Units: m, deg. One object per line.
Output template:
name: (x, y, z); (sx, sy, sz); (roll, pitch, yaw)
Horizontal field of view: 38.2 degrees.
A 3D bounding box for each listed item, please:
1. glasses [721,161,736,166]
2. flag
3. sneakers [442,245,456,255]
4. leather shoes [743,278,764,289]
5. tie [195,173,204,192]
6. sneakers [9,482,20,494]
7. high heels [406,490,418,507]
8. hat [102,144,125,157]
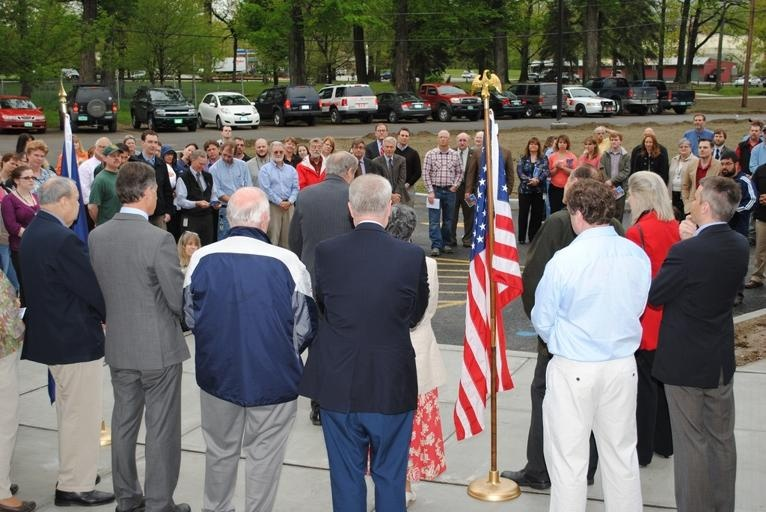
glasses: (6.174, -1.646, 19.685); (0.269, 0.097, 0.125); (-1, 8, -9)
flag: (1.370, 0.377, 14.529); (0.833, 4.410, 1.044); (1, 7, 5)
sneakers: (1.320, -0.106, 22.631); (0.141, 0.201, 0.415); (0, -1, -3)
leather shoes: (6.720, 0.517, 20.035); (0.383, 0.186, 0.150); (3, 4, -29)
tie: (-3.323, -1.305, 19.972); (0.158, 0.261, 0.056); (-11, -10, -37)
sneakers: (-4.761, 2.997, 14.241); (0.094, 0.149, 0.279); (-2, 8, -17)
high heels: (0.369, 3.087, 14.165); (0.104, 0.191, 0.269); (3, 8, 17)
hat: (-4.530, -1.755, 18.431); (0.259, 0.154, 0.393); (-3, -2, -34)
